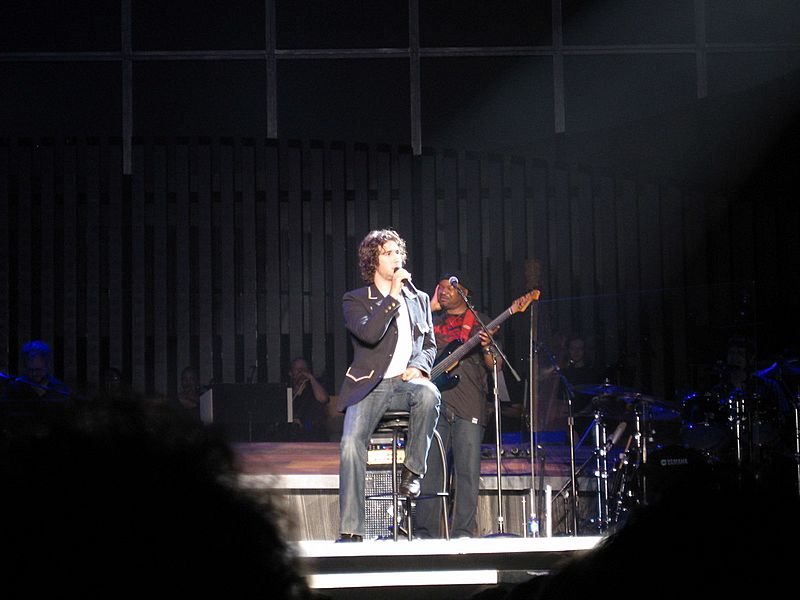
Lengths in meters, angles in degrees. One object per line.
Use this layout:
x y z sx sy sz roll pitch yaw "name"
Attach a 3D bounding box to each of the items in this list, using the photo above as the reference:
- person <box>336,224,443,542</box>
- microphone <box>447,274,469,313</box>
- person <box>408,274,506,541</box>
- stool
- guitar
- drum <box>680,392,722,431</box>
-0.071 0.662 11.864 0.899 2.605 1.057 -1 -1 28 "person"
0.520 -0.073 12.570 0.205 0.288 0.265 -8 9 10 "microphone"
0.513 0.967 12.615 0.634 2.378 0.691 3 2 -3 "person"
0.062 1.495 11.957 0.853 1.184 0.701 0 -3 -2 "stool"
0.761 0.283 12.502 0.976 0.844 0.610 2 -12 -6 "guitar"
2.916 1.050 13.497 0.391 0.360 0.198 -2 -12 12 "drum"
